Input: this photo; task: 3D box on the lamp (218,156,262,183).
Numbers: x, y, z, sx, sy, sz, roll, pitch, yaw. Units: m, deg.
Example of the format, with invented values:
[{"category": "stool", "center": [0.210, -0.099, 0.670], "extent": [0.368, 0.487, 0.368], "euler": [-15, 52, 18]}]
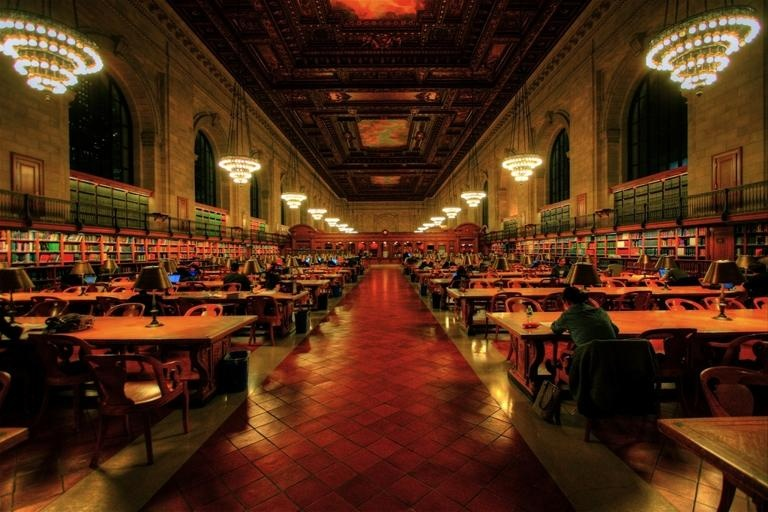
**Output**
[{"category": "lamp", "center": [-4.779, -2.868, 16.923], "extent": [1.081, 0.797, 1.066], "euler": [-3, 6, -28]}]

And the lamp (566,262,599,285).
[{"category": "lamp", "center": [3.220, 0.310, 8.358], "extent": [0.399, 0.348, 0.391], "euler": [-1, -5, -2]}]

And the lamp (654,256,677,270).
[{"category": "lamp", "center": [6.147, 0.167, 11.184], "extent": [0.381, 0.179, 0.372], "euler": [-4, 0, -21]}]

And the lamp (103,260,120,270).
[{"category": "lamp", "center": [-6.494, 0.218, 12.185], "extent": [0.263, 0.269, 0.278], "euler": [-2, 6, -39]}]

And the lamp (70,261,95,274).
[{"category": "lamp", "center": [-6.310, 0.249, 10.719], "extent": [0.307, 0.276, 0.302], "euler": [2, 2, -2]}]

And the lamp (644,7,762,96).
[{"category": "lamp", "center": [6.406, -4.222, 10.366], "extent": [1.971, 0.987, 1.920], "euler": [-5, 2, -18]}]

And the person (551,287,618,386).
[{"category": "person", "center": [3.129, 1.347, 7.954], "extent": [0.880, 1.652, 0.945], "euler": [-7, 3, -16]}]

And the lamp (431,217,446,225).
[{"category": "lamp", "center": [3.503, -2.365, 34.335], "extent": [0.956, 0.390, 0.960], "euler": [0, -2, 24]}]

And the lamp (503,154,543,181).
[{"category": "lamp", "center": [4.611, -2.961, 17.283], "extent": [1.506, 0.844, 1.486], "euler": [-1, -3, 4]}]

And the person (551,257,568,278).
[{"category": "person", "center": [5.368, 0.349, 15.632], "extent": [0.520, 0.823, 0.464], "euler": [0, -5, 1]}]

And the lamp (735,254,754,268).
[{"category": "lamp", "center": [7.422, 0.117, 10.561], "extent": [0.280, 0.125, 0.275], "euler": [-21, 7, -19]}]

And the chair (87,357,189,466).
[{"category": "chair", "center": [-3.601, 2.078, 7.714], "extent": [1.328, 1.590, 1.295], "euler": [-1, 6, -8]}]

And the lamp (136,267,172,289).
[{"category": "lamp", "center": [-3.696, 0.402, 8.213], "extent": [0.403, 0.397, 0.409], "euler": [8, 6, 36]}]

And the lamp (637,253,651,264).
[{"category": "lamp", "center": [6.662, 0.092, 12.996], "extent": [0.368, 0.373, 0.379], "euler": [-1, -3, 2]}]

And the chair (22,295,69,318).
[{"category": "chair", "center": [-6.341, 0.960, 9.616], "extent": [0.297, 0.446, 0.327], "euler": [2, -10, -19]}]

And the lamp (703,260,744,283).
[{"category": "lamp", "center": [5.579, 0.273, 8.454], "extent": [0.423, 0.395, 0.416], "euler": [-2, -2, 2]}]

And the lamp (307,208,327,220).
[{"category": "lamp", "center": [-4.513, -2.737, 33.972], "extent": [1.596, 0.705, 1.557], "euler": [0, -3, -22]}]
